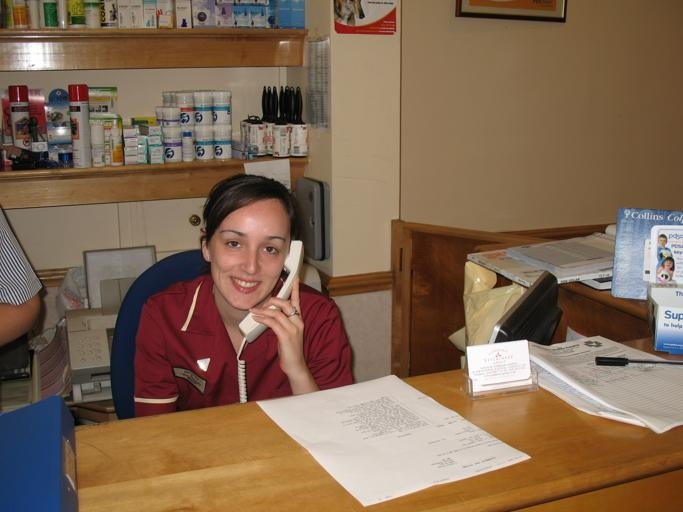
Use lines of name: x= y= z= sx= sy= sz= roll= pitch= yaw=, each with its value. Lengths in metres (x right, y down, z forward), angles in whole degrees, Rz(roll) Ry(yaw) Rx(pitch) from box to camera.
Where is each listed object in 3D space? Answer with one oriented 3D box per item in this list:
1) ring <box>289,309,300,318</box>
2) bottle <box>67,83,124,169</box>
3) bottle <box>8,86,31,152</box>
ring: x=-0.132 y=0.162 z=1.463 sx=0.023 sy=0.009 sz=0.019 roll=-17 pitch=-3 yaw=17
bottle: x=-1.254 y=-0.666 z=2.671 sx=0.245 sy=0.425 sz=0.290 roll=-6 pitch=9 yaw=-22
bottle: x=-1.581 y=-0.667 z=2.563 sx=0.092 sy=0.340 sz=0.165 roll=-8 pitch=10 yaw=-30
